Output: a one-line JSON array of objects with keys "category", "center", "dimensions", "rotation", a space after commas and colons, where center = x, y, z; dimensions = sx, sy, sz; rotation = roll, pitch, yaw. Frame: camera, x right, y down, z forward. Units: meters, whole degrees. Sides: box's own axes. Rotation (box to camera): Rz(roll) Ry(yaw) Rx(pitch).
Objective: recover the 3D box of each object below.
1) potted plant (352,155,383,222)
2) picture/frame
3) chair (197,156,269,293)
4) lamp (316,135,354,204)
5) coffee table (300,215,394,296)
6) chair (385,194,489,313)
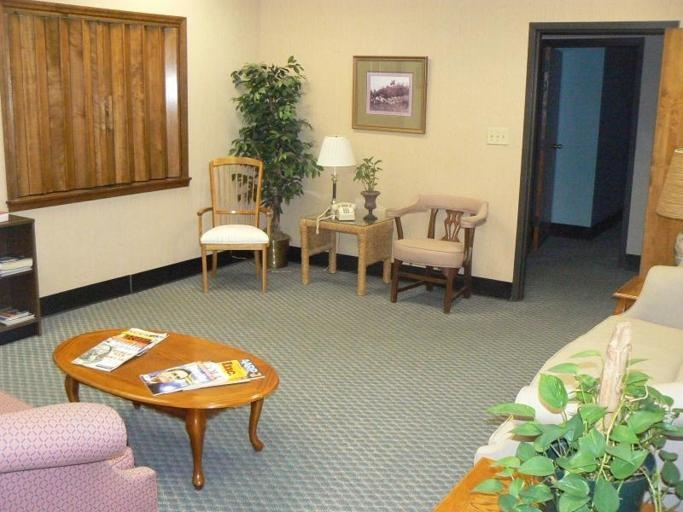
[{"category": "potted plant", "center": [0.300, -0.762, 5.775], "dimensions": [0.297, 0.657, 0.718], "rotation": [1, 18, 4]}, {"category": "picture/frame", "center": [0.571, -1.821, 5.720], "dimensions": [1.000, 0.859, 0.038], "rotation": [8, 18, 29]}, {"category": "chair", "center": [-1.247, -0.422, 5.941], "dimensions": [0.869, 1.389, 1.377], "rotation": [-3, 18, -8]}, {"category": "lamp", "center": [-0.065, -0.948, 5.795], "dimensions": [0.394, 0.796, 0.670], "rotation": [-1, 18, -2]}, {"category": "coffee table", "center": [-0.104, -0.202, 5.945], "dimensions": [1.249, 1.029, 0.898], "rotation": [8, 15, 34]}, {"category": "chair", "center": [1.031, -0.049, 5.394], "dimensions": [1.028, 0.993, 0.844], "rotation": [9, 21, 32]}]
